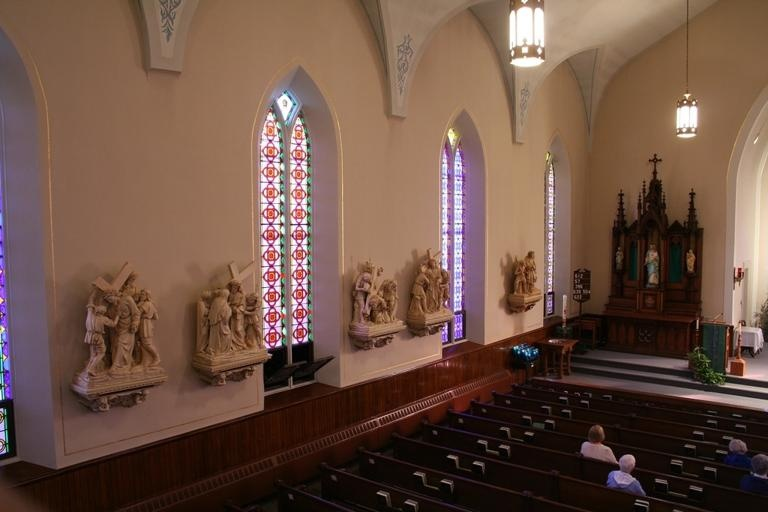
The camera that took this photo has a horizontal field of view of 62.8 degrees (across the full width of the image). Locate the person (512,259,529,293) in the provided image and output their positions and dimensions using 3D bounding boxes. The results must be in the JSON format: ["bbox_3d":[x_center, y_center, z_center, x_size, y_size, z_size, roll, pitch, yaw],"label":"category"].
[{"bbox_3d":[3.319,0.473,15.480,0.351,0.815,0.423,-5,8,-40],"label":"person"}]

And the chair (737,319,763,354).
[{"bbox_3d":[10.049,2.309,17.255,0.508,0.716,0.642,3,7,29],"label":"chair"}]

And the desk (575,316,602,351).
[{"bbox_3d":[5.915,2.127,18.162,0.612,0.845,0.921,4,8,39],"label":"desk"}]

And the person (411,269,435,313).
[{"bbox_3d":[0.742,0.696,12.810,0.445,0.884,0.314,0,6,2],"label":"person"}]

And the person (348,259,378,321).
[{"bbox_3d":[-0.374,0.663,11.920,0.495,1.100,0.317,-6,8,-43],"label":"person"}]

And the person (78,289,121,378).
[{"bbox_3d":[-4.148,1.087,9.147,0.481,1.217,0.315,-4,7,-34],"label":"person"}]

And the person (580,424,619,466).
[{"bbox_3d":[3.523,3.100,10.351,0.563,0.926,0.462,7,25,28],"label":"person"}]

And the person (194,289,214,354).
[{"bbox_3d":[-2.871,1.026,10.075,0.185,0.956,0.267,0,6,7],"label":"person"}]

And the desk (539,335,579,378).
[{"bbox_3d":[4.462,2.560,16.286,0.899,0.993,0.947,0,0,35],"label":"desk"}]

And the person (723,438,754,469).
[{"bbox_3d":[5.696,3.165,10.113,0.293,0.778,0.269,4,28,25],"label":"person"}]

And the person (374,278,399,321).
[{"bbox_3d":[0.024,0.815,12.111,0.257,0.984,0.713,-3,-3,36],"label":"person"}]

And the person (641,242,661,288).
[{"bbox_3d":[7.442,0.243,17.493,0.438,1.174,0.320,4,7,34],"label":"person"}]

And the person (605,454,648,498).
[{"bbox_3d":[3.574,3.202,9.337,0.482,0.491,0.832,2,7,21],"label":"person"}]
